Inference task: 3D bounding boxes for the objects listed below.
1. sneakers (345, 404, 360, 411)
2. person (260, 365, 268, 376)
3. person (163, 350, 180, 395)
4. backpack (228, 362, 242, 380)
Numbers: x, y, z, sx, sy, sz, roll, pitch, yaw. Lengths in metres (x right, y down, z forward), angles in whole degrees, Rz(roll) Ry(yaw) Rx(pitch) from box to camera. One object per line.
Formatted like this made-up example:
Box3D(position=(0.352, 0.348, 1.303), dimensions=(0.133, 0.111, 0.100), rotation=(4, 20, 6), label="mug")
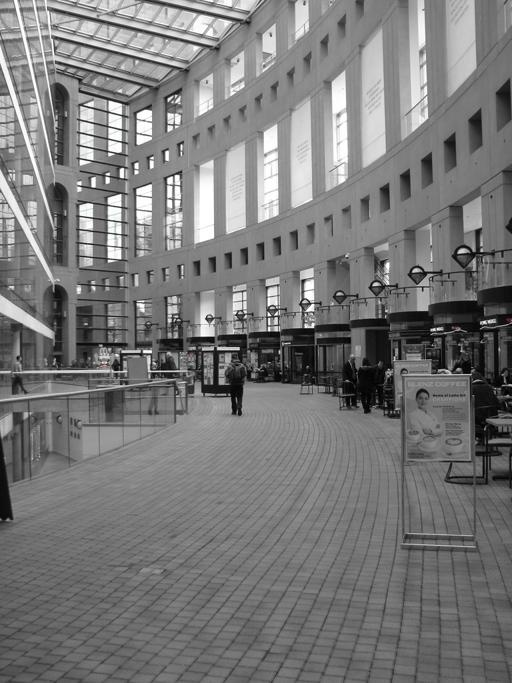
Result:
Box3D(position=(3.131, 2.169, 23.772), dimensions=(0.179, 0.308, 0.611), rotation=(1, -11, -21), label="sneakers")
Box3D(position=(0.445, 2.000, 47.709), dimensions=(0.452, 1.133, 0.526), rotation=(-1, 0, -11), label="person")
Box3D(position=(-3.359, 1.169, 28.388), dimensions=(0.656, 2.082, 0.524), rotation=(-5, -7, 19), label="person")
Box3D(position=(-0.583, 0.916, 20.961), dimensions=(0.348, 0.616, 0.465), rotation=(1, -11, -8), label="backpack")
